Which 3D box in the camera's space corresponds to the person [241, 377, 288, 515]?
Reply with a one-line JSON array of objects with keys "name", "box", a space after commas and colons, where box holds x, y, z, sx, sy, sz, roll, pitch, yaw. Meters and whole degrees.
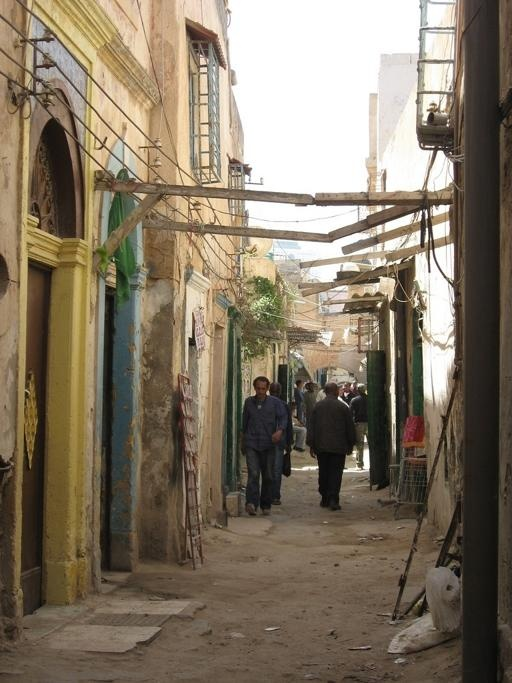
[{"name": "person", "box": [0.116, 1.332, 11.896, 0.562, 1.773, 0.472, 1, -5, -14]}]

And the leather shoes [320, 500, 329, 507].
[{"name": "leather shoes", "box": [0.917, 2.222, 12.661, 0.081, 0.097, 0.277, 1, -9, -13]}]

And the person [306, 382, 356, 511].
[{"name": "person", "box": [1.078, 1.446, 12.841, 0.591, 1.745, 0.886, 2, -6, -30]}]
